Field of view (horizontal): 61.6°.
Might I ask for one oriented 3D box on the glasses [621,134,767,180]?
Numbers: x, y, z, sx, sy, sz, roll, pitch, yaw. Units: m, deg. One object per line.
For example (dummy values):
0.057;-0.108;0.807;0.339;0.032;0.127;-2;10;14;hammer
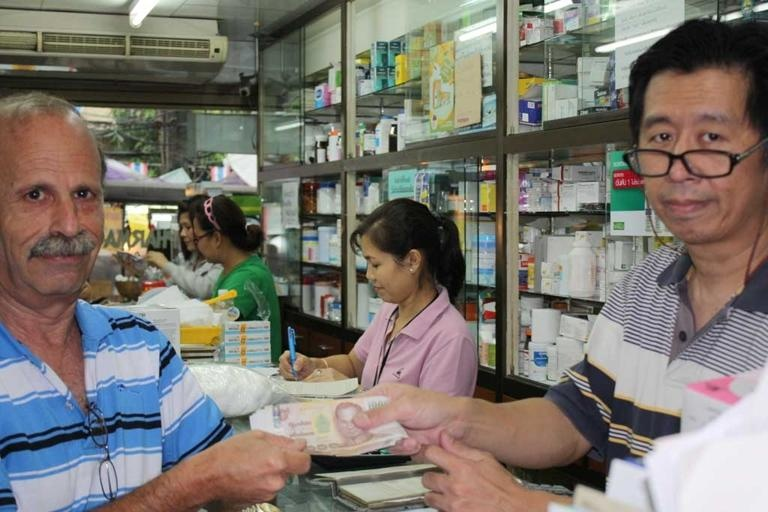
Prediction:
0.873;-0.263;1.826;0.312;0.089;0.069;3;10;30;glasses
